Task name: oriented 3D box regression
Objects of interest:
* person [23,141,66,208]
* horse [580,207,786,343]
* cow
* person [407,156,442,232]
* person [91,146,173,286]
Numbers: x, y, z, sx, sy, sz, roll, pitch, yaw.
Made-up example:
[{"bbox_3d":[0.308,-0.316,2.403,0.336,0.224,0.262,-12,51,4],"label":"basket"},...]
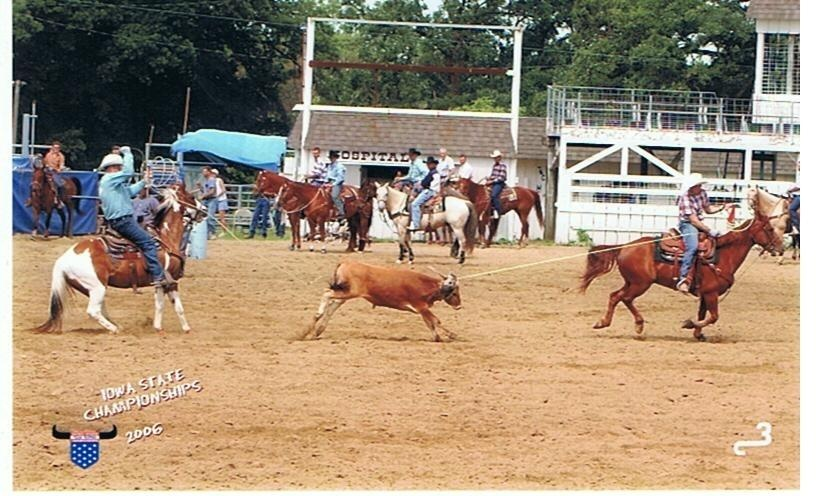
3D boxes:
[{"bbox_3d":[-12.183,-2.484,43.938,1.113,2.057,1.009,1,-3,0],"label":"person"},{"bbox_3d":[7.464,0.731,35.806,5.813,3.195,1.226,2,0,26],"label":"horse"},{"bbox_3d":[-1.323,1.358,35.217,5.709,2.210,1.661,7,-12,-3],"label":"cow"},{"bbox_3d":[0.580,-1.690,41.399,0.834,2.207,0.967,0,0,26],"label":"person"},{"bbox_3d":[-7.333,-0.822,34.469,1.797,3.663,1.062,3,4,-12],"label":"person"}]
